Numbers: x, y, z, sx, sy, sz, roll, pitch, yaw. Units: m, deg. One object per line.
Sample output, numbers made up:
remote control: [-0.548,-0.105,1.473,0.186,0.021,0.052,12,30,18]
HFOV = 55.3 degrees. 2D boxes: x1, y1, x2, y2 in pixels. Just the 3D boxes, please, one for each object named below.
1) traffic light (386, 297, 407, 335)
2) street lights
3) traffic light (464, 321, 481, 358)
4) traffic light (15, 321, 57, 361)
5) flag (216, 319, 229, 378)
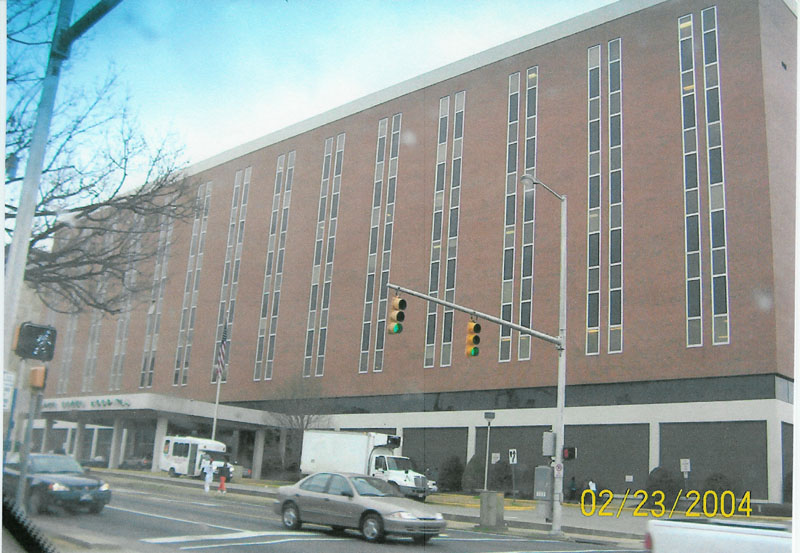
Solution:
traffic light: [-0.027,0.408,8.265,0.189,0.407,0.161,3,-17,1]
street lights: [1.733,0.759,8.605,0.395,4.048,0.768,-6,-19,28]
traffic light: [0.804,0.653,8.319,0.167,0.351,0.410,1,-17,6]
traffic light: [-4.156,0.722,8.777,0.402,0.374,0.382,10,-3,-30]
flag: [-2.043,0.837,8.812,0.160,0.745,0.153,5,-17,-5]
